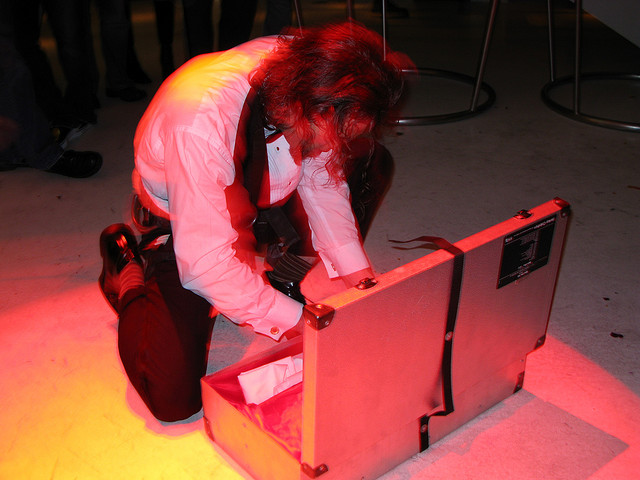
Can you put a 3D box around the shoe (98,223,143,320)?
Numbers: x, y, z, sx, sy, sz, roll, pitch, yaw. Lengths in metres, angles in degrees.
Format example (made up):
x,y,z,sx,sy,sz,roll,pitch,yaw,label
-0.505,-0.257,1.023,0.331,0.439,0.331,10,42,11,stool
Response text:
x,y,z,sx,sy,sz,roll,pitch,yaw,label
-0.612,0.090,1.608,0.149,0.121,0.297,-18,59,17,shoe

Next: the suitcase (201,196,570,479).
x,y,z,sx,sy,sz,roll,pitch,yaw,label
0.130,0.195,1.100,0.689,0.556,0.436,-25,40,-34,suitcase

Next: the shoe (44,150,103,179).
x,y,z,sx,sy,sz,roll,pitch,yaw,label
-1.111,-0.351,2.287,0.290,0.097,0.111,-3,-5,-1,shoe
